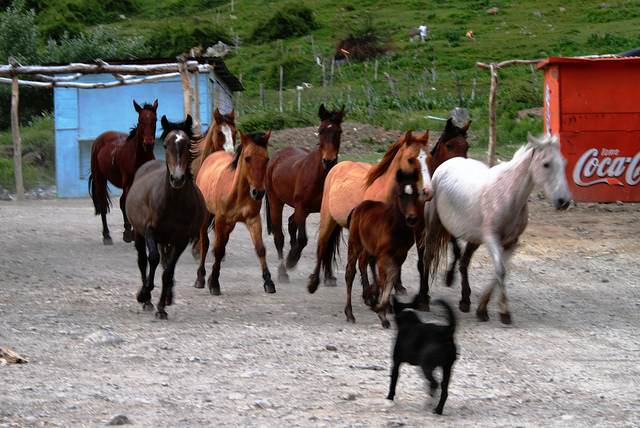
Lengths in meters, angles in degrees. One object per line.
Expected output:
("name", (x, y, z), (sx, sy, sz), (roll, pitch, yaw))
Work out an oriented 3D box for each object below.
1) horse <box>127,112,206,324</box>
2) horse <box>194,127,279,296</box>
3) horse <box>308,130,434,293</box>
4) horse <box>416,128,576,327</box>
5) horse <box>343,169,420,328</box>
("horse", (-2.851, -0.039, 16.539), (1.375, 3.573, 2.095), (-4, 8, -12))
("horse", (-1.717, -0.152, 17.965), (1.596, 3.119, 3.081), (-3, 8, -6))
("horse", (0.908, 0.067, 16.942), (1.032, 2.835, 3.655), (2, -3, -33))
("horse", (3.088, 0.162, 16.616), (2.503, 3.330, 2.259), (-3, 8, -3))
("horse", (1.127, 0.543, 15.867), (1.579, 2.724, 1.116), (1, 8, 23))
